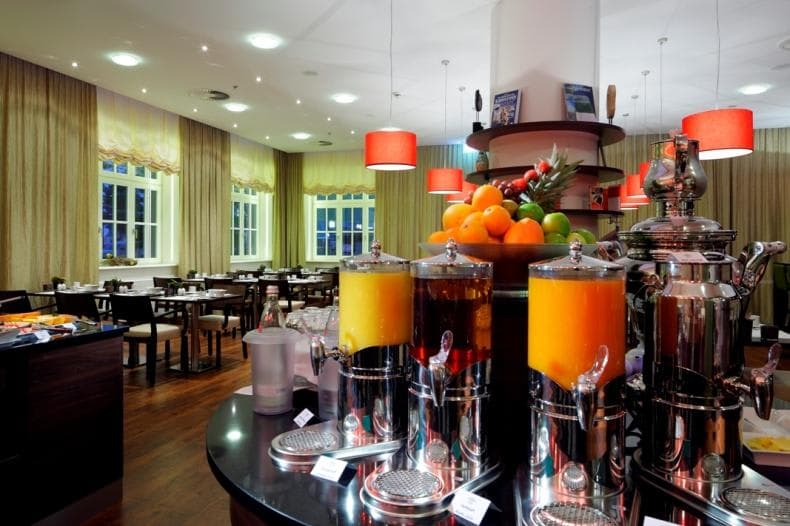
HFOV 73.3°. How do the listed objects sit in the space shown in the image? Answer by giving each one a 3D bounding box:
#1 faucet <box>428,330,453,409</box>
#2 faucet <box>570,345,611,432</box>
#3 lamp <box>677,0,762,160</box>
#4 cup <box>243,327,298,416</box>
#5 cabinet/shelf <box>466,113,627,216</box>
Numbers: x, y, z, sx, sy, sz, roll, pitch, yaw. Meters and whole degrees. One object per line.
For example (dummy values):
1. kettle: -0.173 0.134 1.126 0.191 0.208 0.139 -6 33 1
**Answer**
1. faucet: 0.107 0.253 1.242 0.057 0.188 0.100 0 9 6
2. faucet: 0.430 0.281 1.188 0.062 0.190 0.108 5 11 33
3. lamp: 2.709 -1.518 4.411 0.483 1.297 2.040 5 11 32
4. cup: -0.425 0.323 1.678 0.214 0.255 0.214 0 3 0
5. cabinet/shelf: 0.954 -0.715 3.478 0.850 0.529 0.849 -1 -3 25
